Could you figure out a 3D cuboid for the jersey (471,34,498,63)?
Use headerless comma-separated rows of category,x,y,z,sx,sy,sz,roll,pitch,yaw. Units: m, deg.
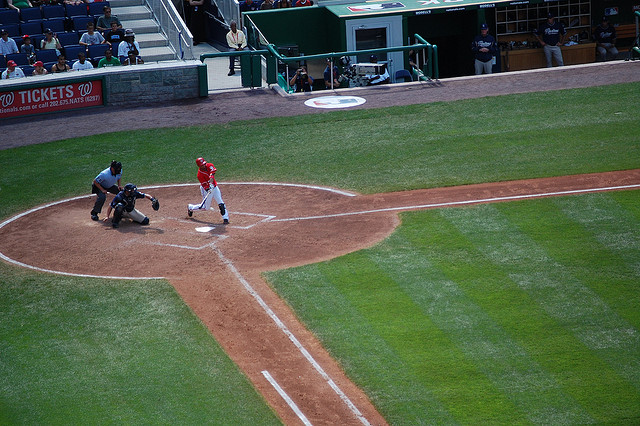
jersey,6.748,-6.779,42.425,1.223,1.031,0.710,-1,23,10

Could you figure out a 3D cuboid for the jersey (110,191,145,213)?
jersey,-5.756,-0.315,30.130,0.803,0.259,0.719,25,58,17

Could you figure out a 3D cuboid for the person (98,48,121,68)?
person,-8.290,-5.942,39.660,1.065,0.711,0.536,-7,9,-19

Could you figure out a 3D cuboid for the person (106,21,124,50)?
person,-8.293,-7.123,40.696,0.723,0.747,0.431,-8,21,-10

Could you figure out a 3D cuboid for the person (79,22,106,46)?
person,-9.077,-6.974,40.393,1.065,0.772,0.572,-15,30,-24

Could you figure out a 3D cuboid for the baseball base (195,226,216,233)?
baseball base,-3.440,0.488,29.909,0.531,0.058,0.313,-4,17,-3

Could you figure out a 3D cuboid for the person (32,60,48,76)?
person,-10.711,-5.404,38.543,0.806,0.460,1.131,4,9,-15

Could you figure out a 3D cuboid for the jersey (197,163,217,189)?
jersey,-3.507,-1.101,30.192,0.788,0.664,0.284,-23,38,-17

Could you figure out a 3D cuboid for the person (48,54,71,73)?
person,-10.099,-5.676,39.088,0.801,0.651,1.606,-8,18,-13

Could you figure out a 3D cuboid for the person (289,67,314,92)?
person,-0.859,-5.287,40.903,0.878,1.007,0.775,-2,20,6

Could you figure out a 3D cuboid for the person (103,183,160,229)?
person,-5.720,-0.212,30.076,1.813,1.028,1.027,6,10,0

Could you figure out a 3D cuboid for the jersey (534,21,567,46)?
jersey,9.929,-7.715,44.393,1.948,1.192,0.602,0,15,7
